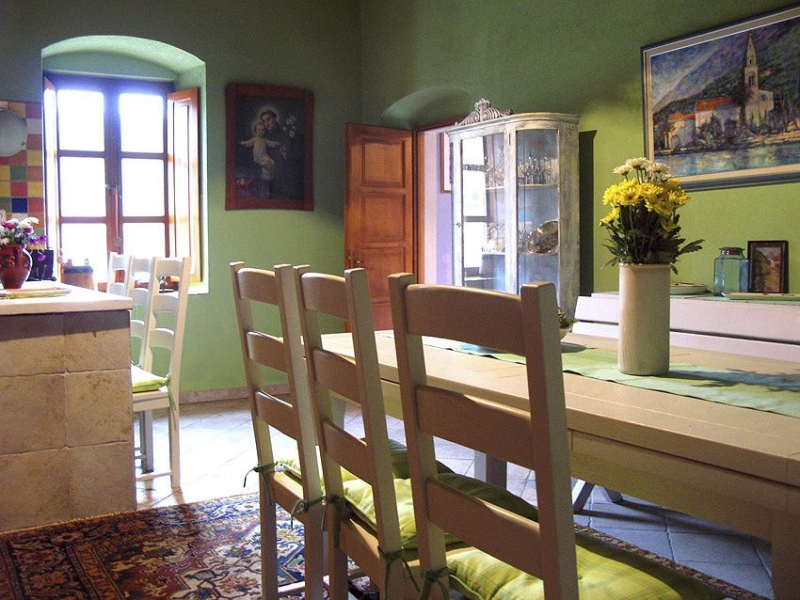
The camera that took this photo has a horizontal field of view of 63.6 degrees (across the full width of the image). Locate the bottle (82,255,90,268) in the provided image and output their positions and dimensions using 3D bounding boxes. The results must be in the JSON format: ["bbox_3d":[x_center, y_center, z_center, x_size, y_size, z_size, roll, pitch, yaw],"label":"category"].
[{"bbox_3d":[-2.675,-0.325,5.460,0.051,0.065,0.320,-4,7,-27],"label":"bottle"}]

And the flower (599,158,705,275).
[{"bbox_3d":[0.809,-0.282,2.089,0.292,0.358,0.196,1,6,12],"label":"flower"}]
